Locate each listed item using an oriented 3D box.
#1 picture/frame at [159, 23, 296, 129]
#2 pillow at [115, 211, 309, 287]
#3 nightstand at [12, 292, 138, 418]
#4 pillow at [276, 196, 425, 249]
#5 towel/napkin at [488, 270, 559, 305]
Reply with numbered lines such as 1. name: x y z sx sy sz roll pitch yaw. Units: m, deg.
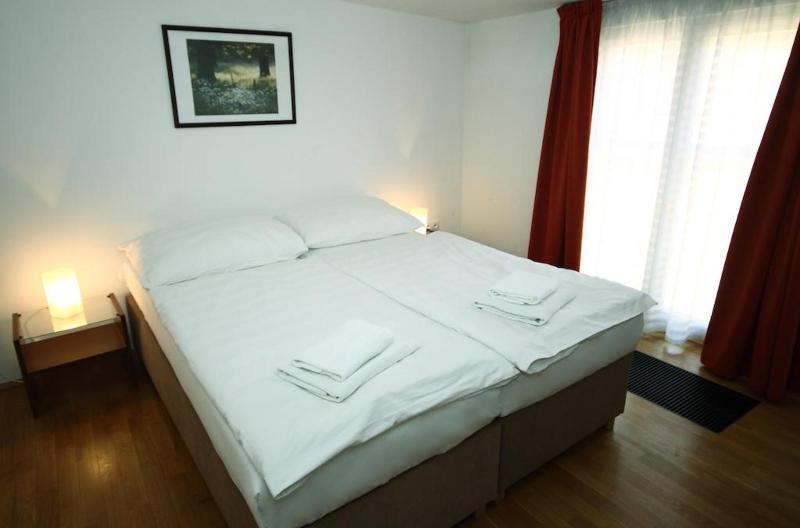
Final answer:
1. picture/frame: -1.400 -1.496 4.383 0.857 0.643 0.040 -7 14 -29
2. pillow: -1.399 -0.108 4.143 0.945 0.250 0.658 -10 29 -26
3. nightstand: -2.436 0.672 4.178 0.732 0.690 0.511 -13 26 -29
4. pillow: -0.432 -0.347 4.725 0.711 0.182 0.652 -11 21 -30
5. towel/napkin: 0.850 0.143 3.692 0.270 0.083 0.264 18 33 40
